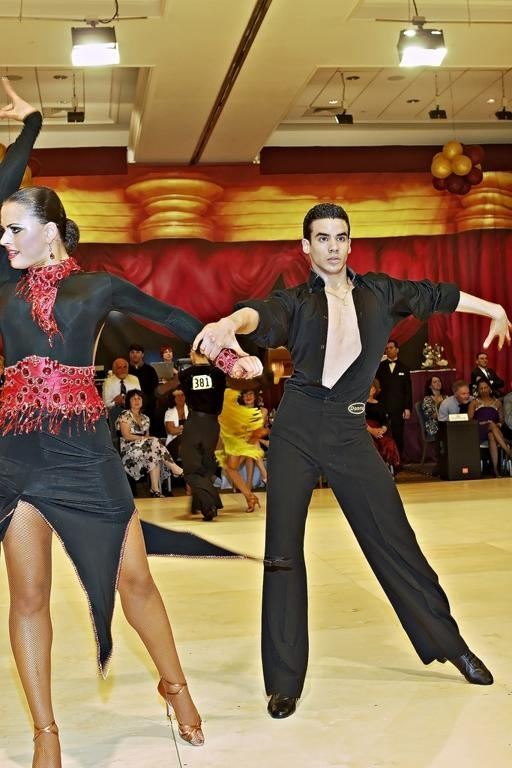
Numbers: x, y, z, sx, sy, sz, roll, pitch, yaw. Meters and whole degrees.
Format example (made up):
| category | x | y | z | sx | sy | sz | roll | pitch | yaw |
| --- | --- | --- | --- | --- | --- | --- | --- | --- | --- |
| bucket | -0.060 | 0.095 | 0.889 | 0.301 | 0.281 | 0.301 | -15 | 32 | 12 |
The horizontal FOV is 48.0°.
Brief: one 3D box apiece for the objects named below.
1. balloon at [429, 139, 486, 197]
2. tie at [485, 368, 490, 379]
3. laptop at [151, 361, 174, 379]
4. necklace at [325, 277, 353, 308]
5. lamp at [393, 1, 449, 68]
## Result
| category | x | y | z | sx | sy | sz | roll | pitch | yaw |
| --- | --- | --- | --- | --- | --- | --- | --- | --- | --- |
| balloon | 3.462 | -3.575 | 9.933 | 1.004 | 0.892 | 0.742 | -6 | -9 | 2 |
| tie | 4.209 | -0.187 | 10.453 | 0.062 | 0.076 | 0.262 | -8 | 31 | 13 |
| laptop | -1.586 | -0.233 | 9.957 | 0.446 | 0.372 | 0.295 | 1 | 12 | -1 |
| necklace | 0.296 | -0.319 | 2.016 | 0.096 | 0.085 | 0.035 | -4 | -16 | -17 |
| lamp | 1.791 | -3.938 | 6.349 | 0.464 | 0.784 | 0.391 | -5 | -10 | 12 |
